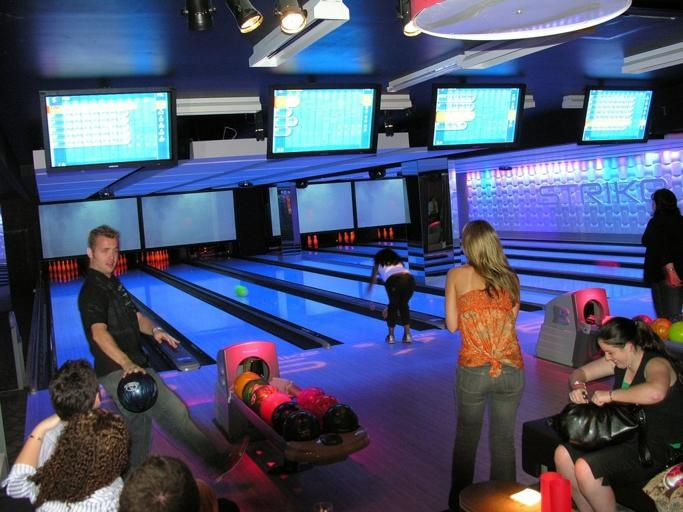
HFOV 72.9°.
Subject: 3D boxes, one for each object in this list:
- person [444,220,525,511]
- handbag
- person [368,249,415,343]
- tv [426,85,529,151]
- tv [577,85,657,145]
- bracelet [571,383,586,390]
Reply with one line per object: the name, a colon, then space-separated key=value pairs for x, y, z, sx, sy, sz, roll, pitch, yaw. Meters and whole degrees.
person: x=0.609 y=0.521 z=1.990 sx=0.324 sy=1.321 sz=0.324 roll=1 pitch=11 yaw=22
handbag: x=1.004 y=0.649 z=1.813 sx=0.230 sy=0.095 sz=0.183 roll=-8 pitch=-1 yaw=5
person: x=0.517 y=0.392 z=4.778 sx=0.443 sy=1.072 sz=0.958 roll=-2 pitch=10 yaw=7
tv: x=1.119 y=-1.163 z=3.872 sx=0.805 sy=0.492 sz=0.062 roll=-7 pitch=22 yaw=-21
tv: x=2.589 y=-1.316 z=4.364 sx=0.896 sy=0.495 sz=0.117 roll=-7 pitch=11 yaw=-20
bracelet: x=1.002 y=0.553 z=1.963 sx=0.044 sy=0.020 sz=0.051 roll=1 pitch=2 yaw=17
